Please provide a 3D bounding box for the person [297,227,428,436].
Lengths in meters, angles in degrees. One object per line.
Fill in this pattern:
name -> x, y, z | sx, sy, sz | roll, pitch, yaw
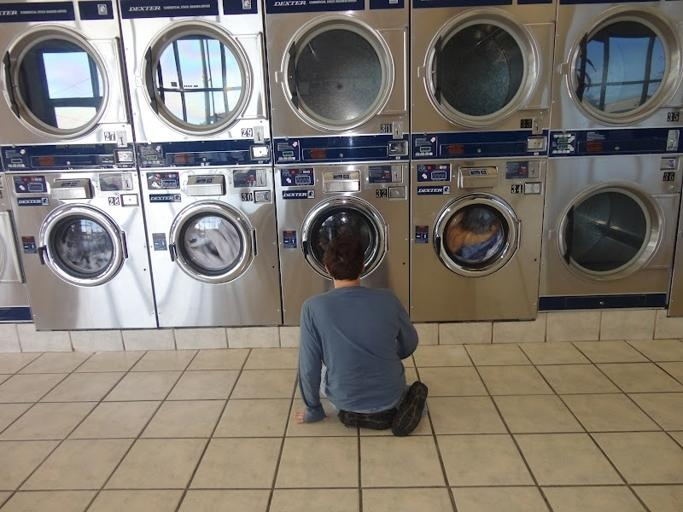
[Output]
person -> 0.094, 0.399, 2.911 | 0.747, 1.004, 0.597 | -3, 11, -3

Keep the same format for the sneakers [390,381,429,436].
sneakers -> 0.358, 0.815, 2.840 | 0.128, 0.123, 0.304 | 27, 63, 16

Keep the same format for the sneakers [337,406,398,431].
sneakers -> 0.133, 0.829, 2.794 | 0.224, 0.092, 0.141 | -2, 2, 1
